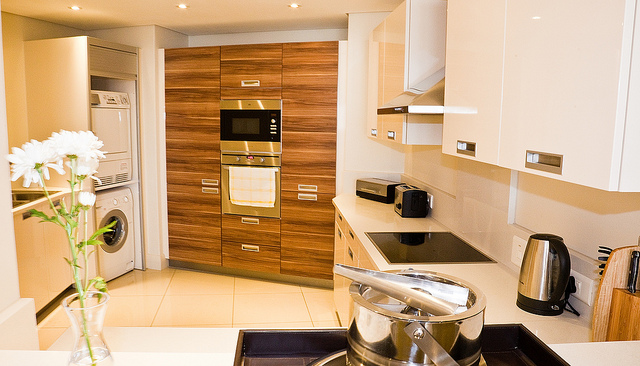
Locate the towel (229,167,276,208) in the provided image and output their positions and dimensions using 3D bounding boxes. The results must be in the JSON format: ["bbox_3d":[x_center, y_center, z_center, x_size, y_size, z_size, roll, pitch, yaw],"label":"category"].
[{"bbox_3d":[-0.802,0.038,4.957,0.564,0.447,0.084,5,15,16],"label":"towel"}]

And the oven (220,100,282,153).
[{"bbox_3d":[-0.797,-0.663,4.879,0.976,0.552,0.518,6,12,25],"label":"oven"}]

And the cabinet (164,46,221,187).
[{"bbox_3d":[-1.560,-0.789,5.246,0.819,1.646,0.639,-6,16,-7],"label":"cabinet"}]

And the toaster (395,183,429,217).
[{"bbox_3d":[0.887,0.166,4.011,0.231,0.264,0.391,0,10,9],"label":"toaster"}]

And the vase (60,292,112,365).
[{"bbox_3d":[-0.854,0.521,1.545,0.158,0.262,0.102,-1,14,-9],"label":"vase"}]

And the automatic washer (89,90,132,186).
[{"bbox_3d":[-2.406,-0.525,4.876,0.201,1.065,0.699,2,14,3],"label":"automatic washer"}]
